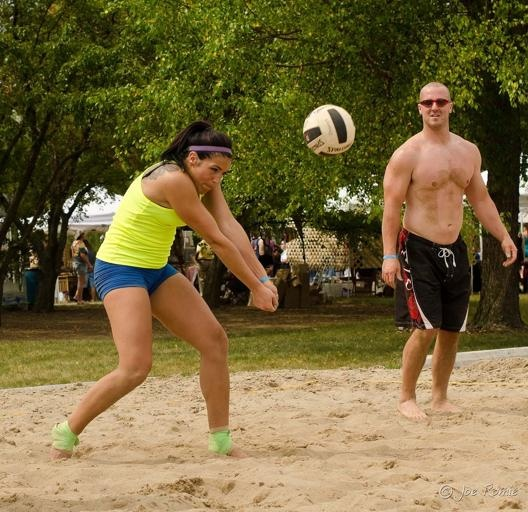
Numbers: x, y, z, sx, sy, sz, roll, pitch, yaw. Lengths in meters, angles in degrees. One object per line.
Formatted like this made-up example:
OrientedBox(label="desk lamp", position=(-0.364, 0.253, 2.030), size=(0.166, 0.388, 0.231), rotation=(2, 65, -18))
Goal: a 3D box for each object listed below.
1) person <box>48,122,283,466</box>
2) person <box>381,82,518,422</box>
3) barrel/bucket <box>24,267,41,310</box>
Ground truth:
OrientedBox(label="person", position=(-0.435, 0.074, 3.753), size=(1.199, 1.853, 0.763), rotation=(0, -1, 16))
OrientedBox(label="person", position=(1.201, -0.039, 5.314), size=(0.843, 2.370, 0.999), rotation=(1, -1, -23))
OrientedBox(label="barrel/bucket", position=(-7.083, 0.974, 21.557), size=(0.402, 0.775, 0.725), rotation=(-3, -1, -17))
